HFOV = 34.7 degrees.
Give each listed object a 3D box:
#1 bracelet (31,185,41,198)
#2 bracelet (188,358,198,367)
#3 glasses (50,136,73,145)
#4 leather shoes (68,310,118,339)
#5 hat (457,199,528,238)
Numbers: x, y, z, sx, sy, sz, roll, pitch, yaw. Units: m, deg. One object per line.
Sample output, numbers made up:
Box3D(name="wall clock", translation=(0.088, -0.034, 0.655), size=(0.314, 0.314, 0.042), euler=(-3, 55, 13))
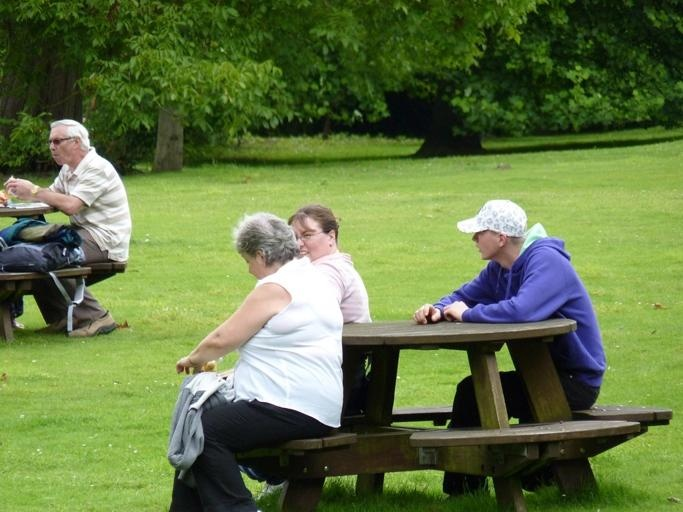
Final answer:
Box3D(name="bracelet", translation=(-3.599, -0.801, 12.870), size=(0.113, 0.153, 0.173), euler=(4, -14, -7))
Box3D(name="bracelet", translation=(-1.150, 0.830, 8.555), size=(0.049, 0.046, 0.049), euler=(-3, 4, -6))
Box3D(name="glasses", translation=(-3.287, -1.374, 12.842), size=(0.268, 0.084, 0.055), euler=(0, 13, 5))
Box3D(name="leather shoes", translation=(-2.964, 0.808, 13.130), size=(0.383, 0.137, 0.280), euler=(-10, 11, -30))
Box3D(name="hat", translation=(1.326, -0.326, 9.284), size=(0.483, 0.247, 0.322), euler=(11, 5, 10))
